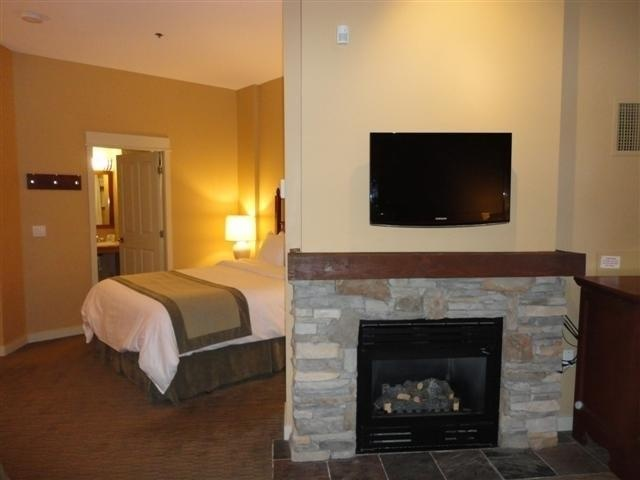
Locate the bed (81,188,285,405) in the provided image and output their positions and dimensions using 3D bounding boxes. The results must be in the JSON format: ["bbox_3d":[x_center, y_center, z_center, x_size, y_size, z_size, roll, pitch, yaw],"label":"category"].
[{"bbox_3d":[-1.063,0.495,5.221,1.947,1.257,1.430,-3,8,-40],"label":"bed"}]

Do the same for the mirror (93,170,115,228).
[{"bbox_3d":[-3.221,-0.604,7.644,0.364,0.898,0.066,-2,-12,-21],"label":"mirror"}]
